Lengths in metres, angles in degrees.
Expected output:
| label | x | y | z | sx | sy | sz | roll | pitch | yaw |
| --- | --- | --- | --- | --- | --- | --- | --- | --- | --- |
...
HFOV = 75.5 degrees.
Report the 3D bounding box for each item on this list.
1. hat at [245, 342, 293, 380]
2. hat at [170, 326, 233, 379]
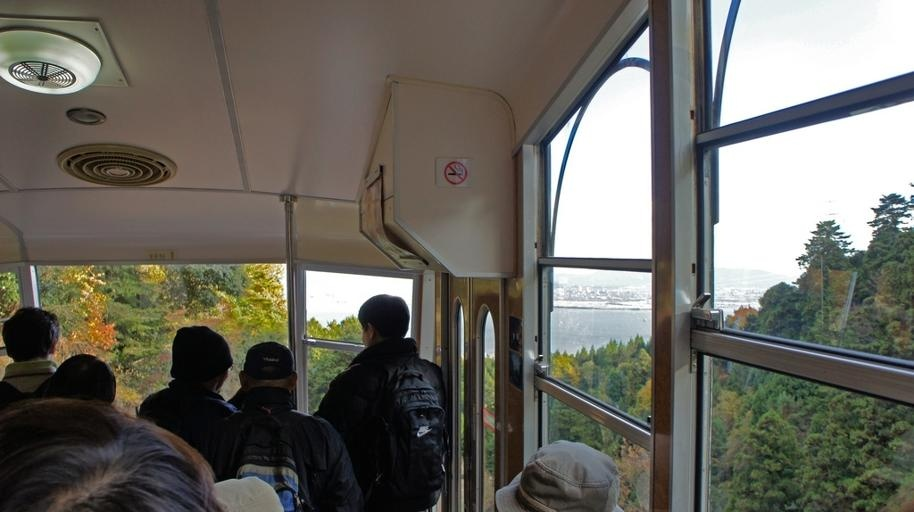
| label | x | y | z | sx | sy | sz | roll | pitch | yaw |
| --- | --- | --- | --- | --- | --- | --- | --- | --- | --- |
| hat | -0.976 | 0.551 | 3.113 | 0.277 | 0.169 | 0.385 | 6 | 3 | -25 |
| hat | -1.436 | 0.532 | 3.293 | 0.330 | 0.246 | 0.317 | 3 | -5 | -42 |
